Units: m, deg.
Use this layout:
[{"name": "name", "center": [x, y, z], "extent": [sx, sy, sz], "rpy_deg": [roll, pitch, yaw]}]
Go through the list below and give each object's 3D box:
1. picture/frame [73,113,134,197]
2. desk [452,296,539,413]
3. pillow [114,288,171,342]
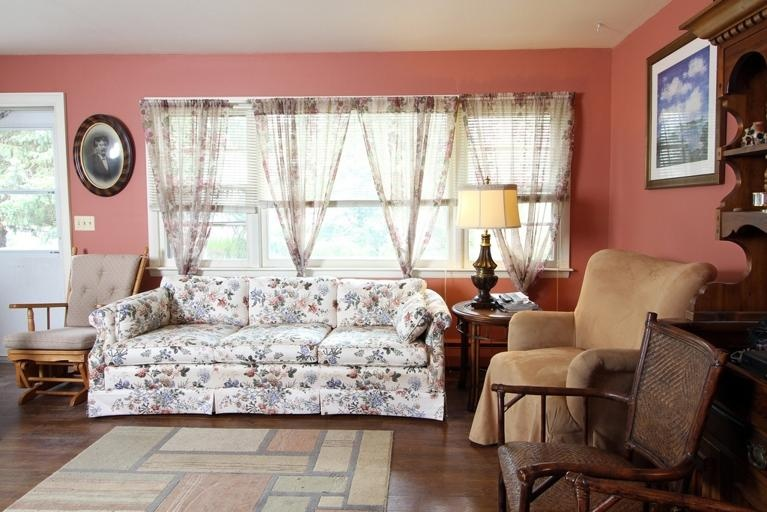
[{"name": "picture/frame", "center": [-2.617, -0.981, 5.578], "extent": [0.771, 0.891, 0.099], "rpy_deg": [2, 2, 5]}, {"name": "desk", "center": [0.903, 0.813, 4.928], "extent": [0.739, 0.764, 0.697], "rpy_deg": [-2, 7, -11]}, {"name": "pillow", "center": [-1.906, 0.482, 4.953], "extent": [0.560, 0.300, 0.181], "rpy_deg": [-19, -10, 10]}]
